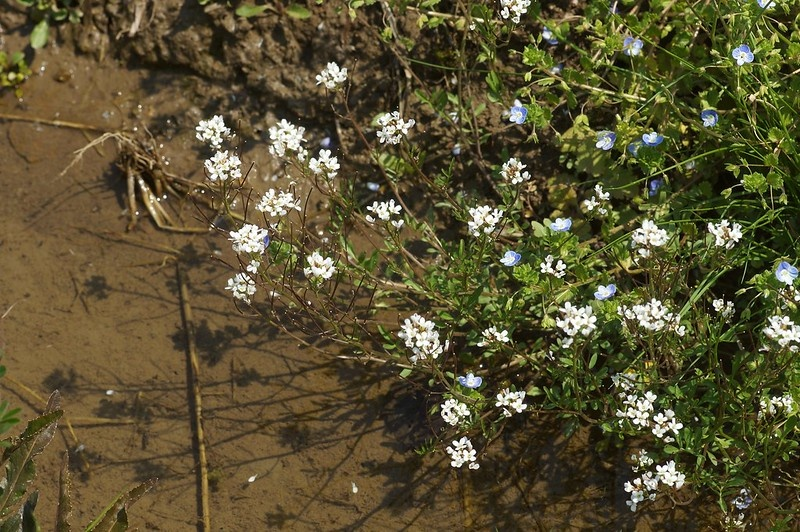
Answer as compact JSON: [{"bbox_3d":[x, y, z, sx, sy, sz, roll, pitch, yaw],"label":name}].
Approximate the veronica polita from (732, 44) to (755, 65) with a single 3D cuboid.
[{"bbox_3d":[2.537,-1.558,6.431,0.142,0.158,0.064,-23,6,-2],"label":"veronica polita"}]
